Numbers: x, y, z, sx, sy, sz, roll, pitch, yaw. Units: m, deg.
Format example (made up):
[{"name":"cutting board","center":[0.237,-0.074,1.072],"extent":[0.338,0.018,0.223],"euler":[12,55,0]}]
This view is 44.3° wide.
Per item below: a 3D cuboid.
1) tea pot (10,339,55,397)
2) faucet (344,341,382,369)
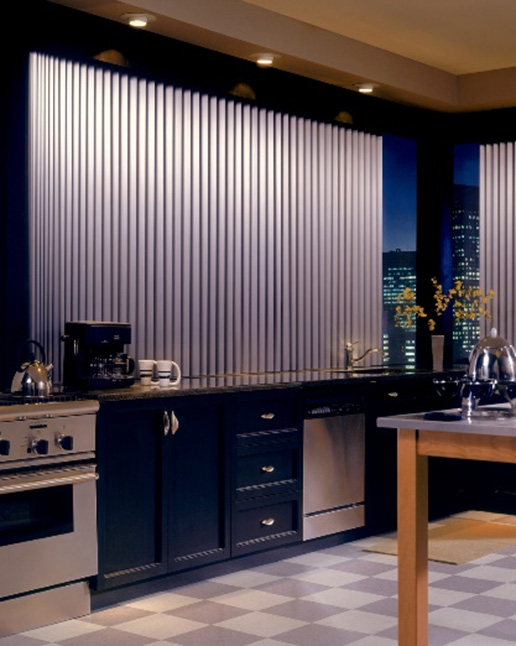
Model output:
[{"name":"tea pot","center":[-0.884,0.191,2.463],"extent":[0.158,0.248,0.160],"euler":[3,1,0]},{"name":"faucet","center":[0.712,0.243,4.428],"extent":[0.218,0.202,0.441],"euler":[-1,-7,11]}]
